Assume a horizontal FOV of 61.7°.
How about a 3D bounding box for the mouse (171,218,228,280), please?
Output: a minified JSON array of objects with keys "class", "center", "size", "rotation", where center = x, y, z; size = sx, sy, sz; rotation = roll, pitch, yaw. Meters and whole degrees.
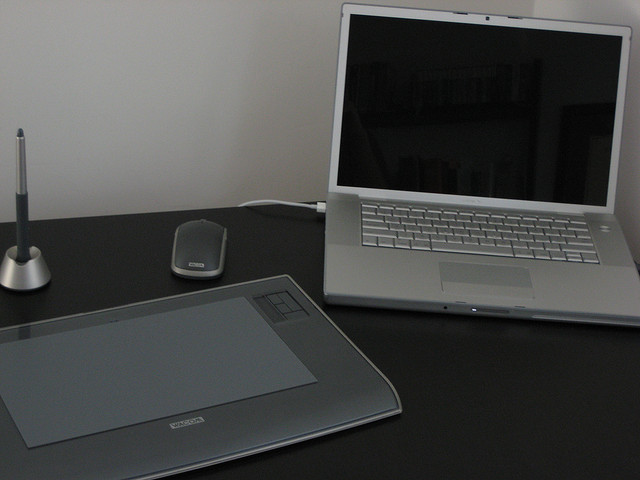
[{"class":"mouse","center":[-0.197,0.014,0.882],"size":[0.085,0.071,0.103],"rotation":[1,16,-7]}]
